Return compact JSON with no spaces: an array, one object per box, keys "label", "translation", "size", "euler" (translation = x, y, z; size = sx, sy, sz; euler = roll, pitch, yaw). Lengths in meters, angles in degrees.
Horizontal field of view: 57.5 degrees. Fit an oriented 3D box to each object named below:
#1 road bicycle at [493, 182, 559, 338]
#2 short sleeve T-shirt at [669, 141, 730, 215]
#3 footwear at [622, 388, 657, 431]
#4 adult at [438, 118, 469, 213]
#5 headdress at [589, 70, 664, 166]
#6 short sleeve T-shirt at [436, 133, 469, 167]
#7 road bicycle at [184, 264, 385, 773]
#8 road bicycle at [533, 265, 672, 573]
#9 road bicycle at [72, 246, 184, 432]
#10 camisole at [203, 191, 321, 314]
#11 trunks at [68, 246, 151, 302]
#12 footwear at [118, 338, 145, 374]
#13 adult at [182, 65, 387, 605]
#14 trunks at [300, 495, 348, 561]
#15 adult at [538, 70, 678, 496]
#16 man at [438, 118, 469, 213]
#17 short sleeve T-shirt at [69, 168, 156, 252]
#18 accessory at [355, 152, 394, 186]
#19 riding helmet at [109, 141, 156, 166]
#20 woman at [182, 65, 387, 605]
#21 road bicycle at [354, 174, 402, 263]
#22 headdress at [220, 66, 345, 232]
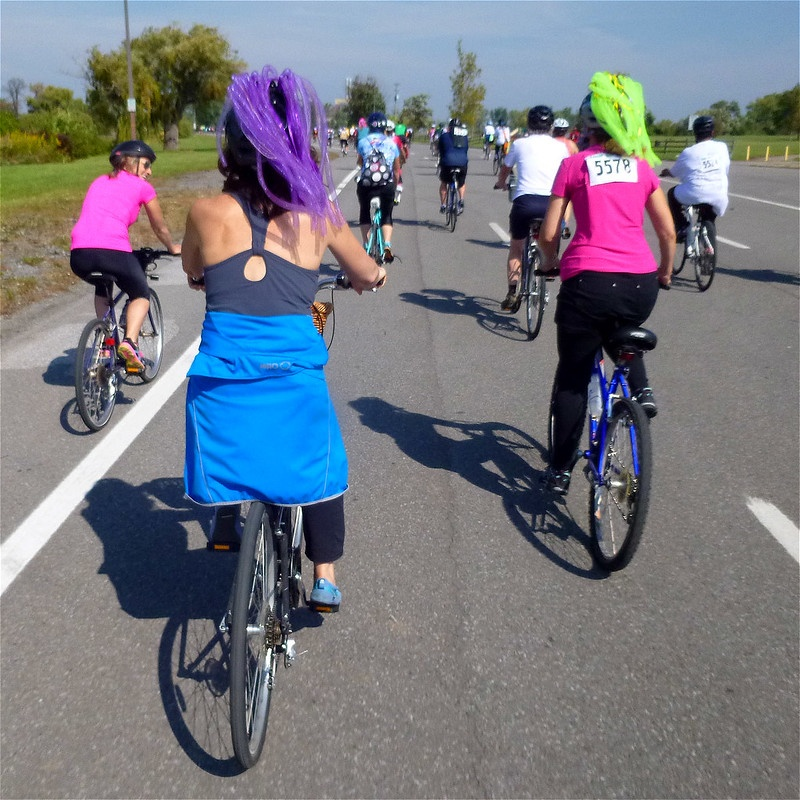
[{"label":"road bicycle","translation":[1.311,-1.161,7.190],"size":[0.528,1.025,1.567],"euler":[2,29,0]},{"label":"short sleeve T-shirt","translation":[3.747,-2.743,9.064],"size":[0.741,0.918,0.470],"euler":[4,22,12]},{"label":"footwear","translation":[1.157,0.005,3.511],"size":[0.082,0.148,0.324],"euler":[-2,44,9]},{"label":"adult","translation":[1.066,-4.829,13.983],"size":[0.479,1.175,1.543],"euler":[-1,30,-2]},{"label":"headdress","translation":[1.109,-1.384,3.624],"size":[0.333,0.426,0.439],"euler":[11,26,26]},{"label":"short sleeve T-shirt","translation":[0.989,-4.631,13.491],"size":[0.520,0.672,0.545],"euler":[0,22,2]},{"label":"road bicycle","translation":[-0.303,0.375,2.517],"size":[0.509,1.637,0.846],"euler":[4,-14,7]},{"label":"road bicycle","translation":[1.026,0.118,3.641],"size":[0.466,0.889,1.295],"euler":[-1,27,-3]},{"label":"road bicycle","translation":[-2.064,-0.499,5.413],"size":[0.536,1.011,1.485],"euler":[1,17,3]},{"label":"camisole","translation":[-0.458,-0.433,2.348],"size":[0.343,0.497,0.225],"euler":[1,-5,-15]},{"label":"trunks","translation":[-2.021,-0.864,5.095],"size":[0.493,0.470,0.257],"euler":[-15,25,-28]},{"label":"footwear","translation":[-1.933,-0.308,5.251],"size":[0.092,0.259,0.121],"euler":[-11,44,4]},{"label":"adult","translation":[-0.385,-0.214,2.676],"size":[0.724,1.857,0.776],"euler":[-8,13,-32]},{"label":"trunks","translation":[-0.294,0.447,2.717],"size":[0.154,0.313,0.167],"euler":[7,35,11]},{"label":"adult","translation":[1.067,-0.582,3.856],"size":[0.593,2.107,0.653],"euler":[0,4,-34]},{"label":"man","translation":[0.989,-4.819,13.955],"size":[0.479,1.175,1.543],"euler":[-1,30,-2]},{"label":"short sleeve T-shirt","translation":[-2.008,-1.300,5.060],"size":[0.348,0.482,0.604],"euler":[8,25,19]},{"label":"accessory","translation":[-0.309,-2.793,9.329],"size":[0.466,0.665,0.326],"euler":[0,5,-2]},{"label":"riding helmet","translation":[-1.915,-1.768,5.202],"size":[0.277,0.160,0.232],"euler":[-5,11,-18]},{"label":"woman","translation":[-0.453,-0.215,2.671],"size":[0.769,1.847,0.794],"euler":[-6,14,-36]},{"label":"road bicycle","translation":[-0.313,-2.611,9.919],"size":[0.618,1.090,1.601],"euler":[1,30,2]},{"label":"headdress","translation":[-0.456,-0.805,2.393],"size":[0.285,0.537,0.409],"euler":[-14,26,-18]}]
